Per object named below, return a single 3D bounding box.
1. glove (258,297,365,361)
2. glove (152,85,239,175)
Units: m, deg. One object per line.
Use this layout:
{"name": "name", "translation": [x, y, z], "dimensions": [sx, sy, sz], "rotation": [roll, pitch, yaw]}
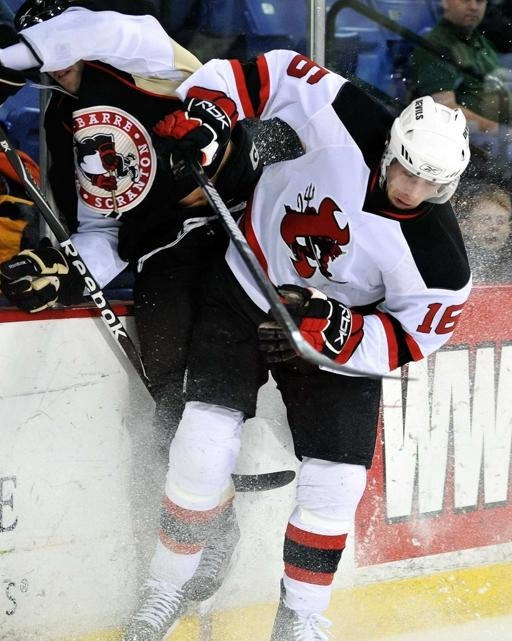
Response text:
{"name": "glove", "translation": [0.156, 0.035, 1.769], "dimensions": [0.225, 0.195, 0.087], "rotation": [37, 40, -24]}
{"name": "glove", "translation": [-0.168, -0.474, 1.802], "dimensions": [0.188, 0.269, 0.284], "rotation": [16, 37, 12]}
